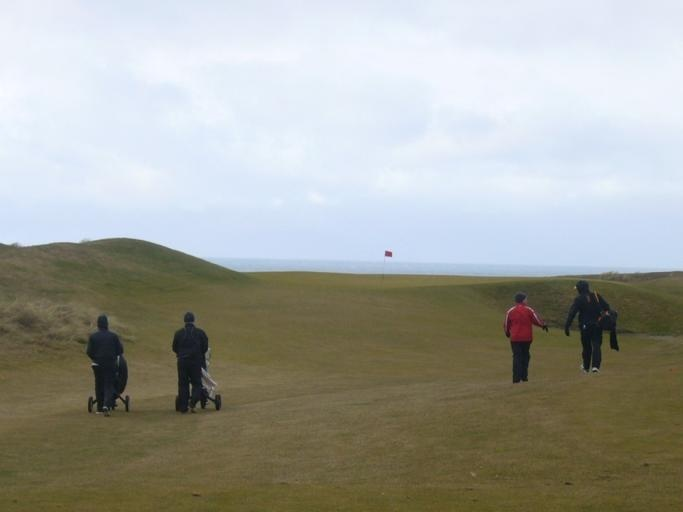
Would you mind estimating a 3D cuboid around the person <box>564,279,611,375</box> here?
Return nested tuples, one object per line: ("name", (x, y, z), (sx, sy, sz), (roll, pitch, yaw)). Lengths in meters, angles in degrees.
("person", (6.600, 1.855, 37.337), (0.907, 2.695, 1.183), (0, -1, 13))

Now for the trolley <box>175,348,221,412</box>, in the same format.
("trolley", (-3.553, 3.205, 35.862), (1.003, 1.640, 1.027), (1, -1, -20))

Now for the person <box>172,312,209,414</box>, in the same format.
("person", (-3.812, 2.690, 35.183), (0.860, 2.460, 0.710), (1, 7, -7))

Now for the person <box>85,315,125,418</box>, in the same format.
("person", (-5.976, 2.759, 35.168), (0.904, 2.446, 0.971), (1, -1, -19))

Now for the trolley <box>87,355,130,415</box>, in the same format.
("trolley", (-5.918, 3.220, 35.416), (0.899, 1.606, 0.965), (1, 2, -26))
